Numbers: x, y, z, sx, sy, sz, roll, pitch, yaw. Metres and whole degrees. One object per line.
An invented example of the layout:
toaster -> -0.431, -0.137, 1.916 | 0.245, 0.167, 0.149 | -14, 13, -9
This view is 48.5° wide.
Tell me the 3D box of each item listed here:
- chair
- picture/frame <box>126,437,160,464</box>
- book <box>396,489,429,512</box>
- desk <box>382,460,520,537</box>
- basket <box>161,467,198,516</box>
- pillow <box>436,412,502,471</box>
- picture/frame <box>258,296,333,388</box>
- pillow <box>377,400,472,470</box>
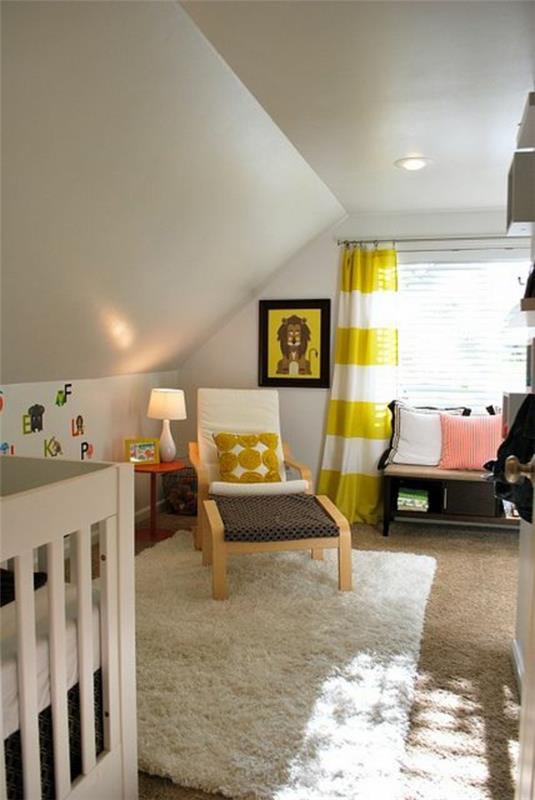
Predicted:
chair -> -0.069, 0.366, 3.225 | 0.607, 0.813, 1.201 | -1, 4, -8
picture/frame -> -0.769, 0.318, 3.660 | 0.248, 0.216, 0.018 | 2, -9, -41
book -> 0.905, 0.627, 3.705 | 0.131, 0.051, 0.137 | 4, 7, 26
desk -> 1.186, 0.627, 3.700 | 0.835, 0.436, 0.292 | 1, 7, 14
basket -> -0.617, 0.649, 4.295 | 0.235, 0.240, 0.359 | 1, 8, 9
pillow -> 1.218, 0.256, 3.585 | 0.320, 0.321, 0.117 | 0, -14, 15
picture/frame -> 0.223, -0.431, 4.291 | 0.617, 0.832, 0.056 | 0, 1, 14
pillow -> 1.028, 0.235, 3.895 | 0.600, 0.605, 0.362 | 2, 9, 18
